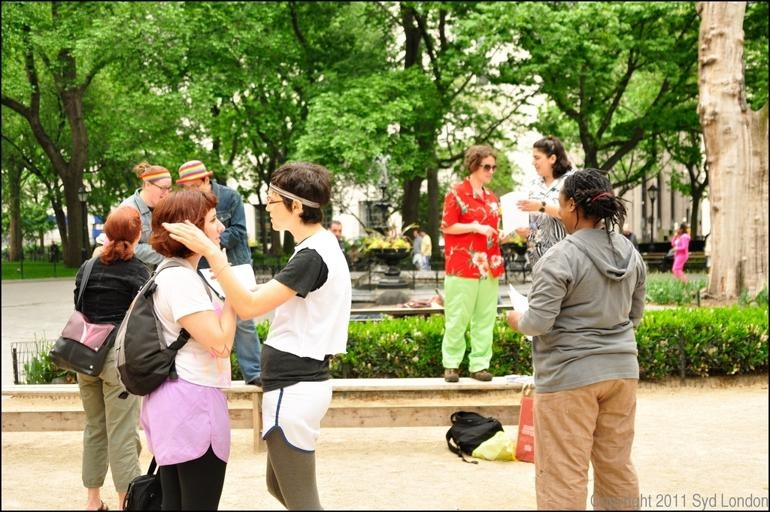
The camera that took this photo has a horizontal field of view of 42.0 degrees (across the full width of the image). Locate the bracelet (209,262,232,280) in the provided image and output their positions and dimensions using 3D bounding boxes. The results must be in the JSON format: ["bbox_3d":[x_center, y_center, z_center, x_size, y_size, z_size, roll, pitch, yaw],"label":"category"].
[{"bbox_3d":[-2.691,0.277,16.362,0.238,0.138,0.303,-29,1,-42],"label":"bracelet"}]

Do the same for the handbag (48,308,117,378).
[{"bbox_3d":[-5.405,1.617,18.029,1.231,1.174,0.487,20,-9,11],"label":"handbag"}]

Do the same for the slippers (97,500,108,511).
[{"bbox_3d":[-5.017,4.457,17.817,0.132,0.162,0.169,1,-28,-8],"label":"slippers"}]

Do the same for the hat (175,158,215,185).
[{"bbox_3d":[-3.600,-1.515,18.524,0.535,0.275,0.550,1,16,37],"label":"hat"}]

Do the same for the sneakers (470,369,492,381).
[{"bbox_3d":[1.845,2.323,19.370,0.177,0.189,0.432,3,-8,-36],"label":"sneakers"}]

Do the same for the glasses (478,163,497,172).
[{"bbox_3d":[1.992,-1.697,19.116,0.166,0.141,0.335,-3,-2,42],"label":"glasses"}]
